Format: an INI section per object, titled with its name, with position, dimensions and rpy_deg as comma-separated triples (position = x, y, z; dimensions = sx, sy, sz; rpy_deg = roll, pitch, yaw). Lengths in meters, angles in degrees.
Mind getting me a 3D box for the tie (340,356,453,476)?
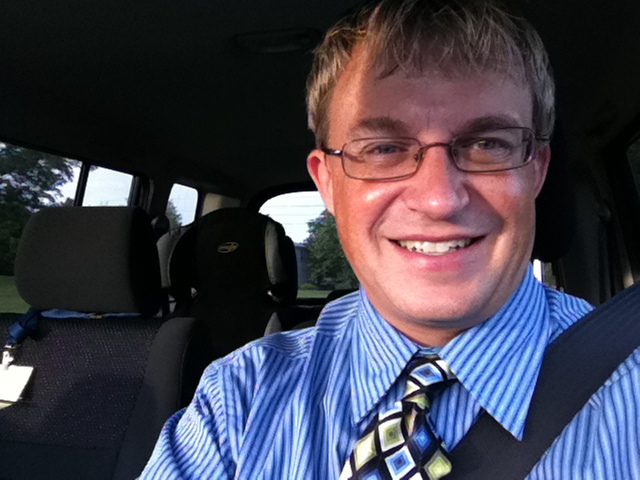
[tie]
position = 0.225, 0.479, 1.359
dimensions = 0.179, 0.341, 0.081
rpy_deg = 18, -19, 4
